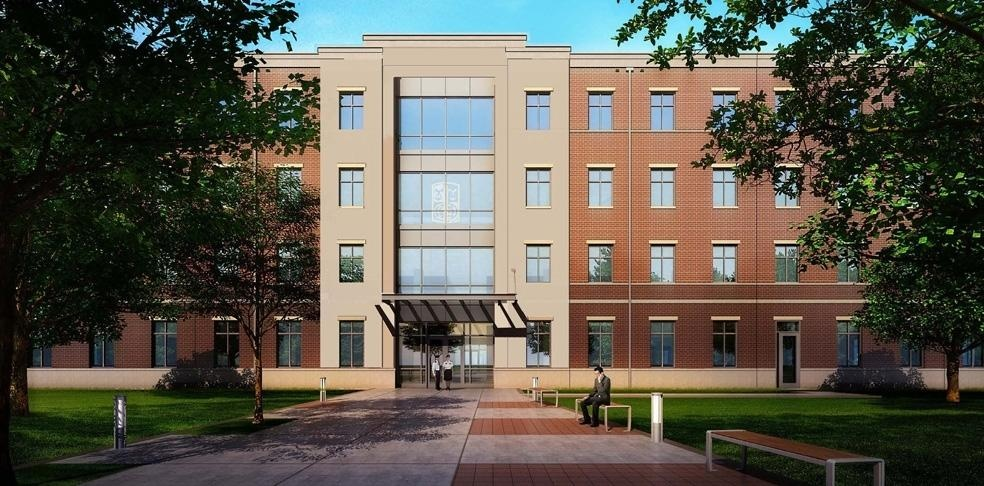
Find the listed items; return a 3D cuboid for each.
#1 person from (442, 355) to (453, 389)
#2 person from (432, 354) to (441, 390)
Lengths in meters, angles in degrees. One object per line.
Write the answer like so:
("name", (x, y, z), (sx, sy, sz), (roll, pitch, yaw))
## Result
("person", (-2.930, 8.621, 73.550), (0.640, 2.323, 0.817), (0, -9, -2))
("person", (-3.664, 8.628, 73.598), (0.576, 2.327, 0.919), (0, -9, -3))
